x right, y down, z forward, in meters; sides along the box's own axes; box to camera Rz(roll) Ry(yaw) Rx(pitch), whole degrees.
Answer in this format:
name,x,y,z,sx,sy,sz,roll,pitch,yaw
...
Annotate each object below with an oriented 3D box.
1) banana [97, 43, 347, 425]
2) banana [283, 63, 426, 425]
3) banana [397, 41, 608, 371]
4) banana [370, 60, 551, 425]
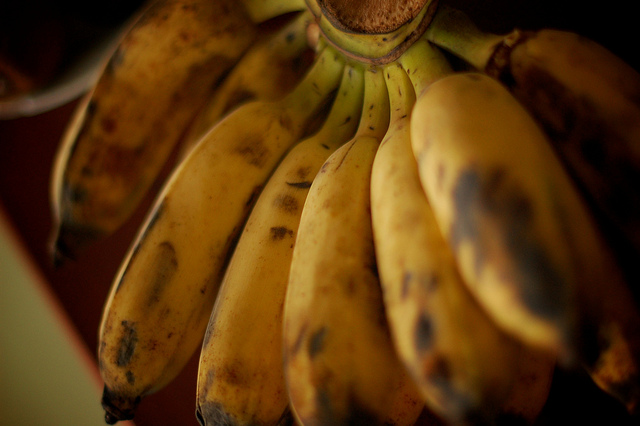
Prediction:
name,x,y,z,sx,sy,sz,roll,pitch,yaw
banana,-0.136,0.024,0.901,0.100,0.530,0.172,26,-1,14
banana,0.044,0.048,0.906,0.115,0.538,0.160,6,-13,-10
banana,0.227,0.015,0.836,0.136,0.476,0.147,-17,-15,-26
banana,0.148,-0.020,0.908,0.135,0.624,0.187,-3,-14,-24
